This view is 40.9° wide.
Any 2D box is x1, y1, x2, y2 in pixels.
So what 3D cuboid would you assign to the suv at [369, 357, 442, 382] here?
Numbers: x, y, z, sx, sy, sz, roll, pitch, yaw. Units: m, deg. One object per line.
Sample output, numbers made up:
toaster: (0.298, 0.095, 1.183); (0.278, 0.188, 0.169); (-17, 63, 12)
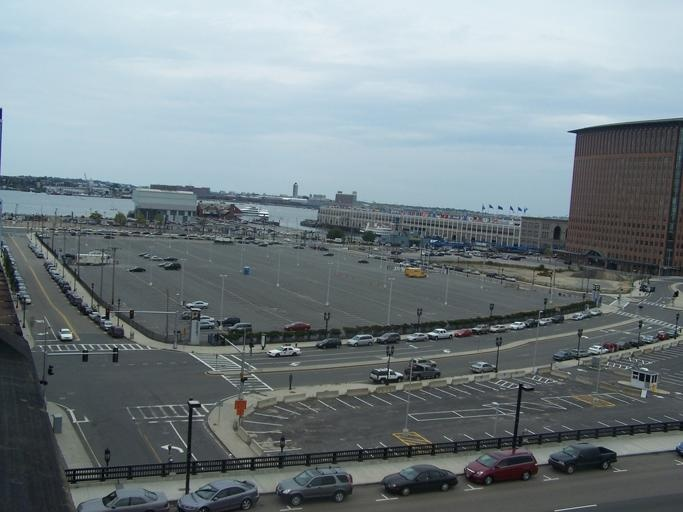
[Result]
suv: (6.897, 12.731, 96.675); (9.271, 1.851, 2.854); (-5, 13, -18)
